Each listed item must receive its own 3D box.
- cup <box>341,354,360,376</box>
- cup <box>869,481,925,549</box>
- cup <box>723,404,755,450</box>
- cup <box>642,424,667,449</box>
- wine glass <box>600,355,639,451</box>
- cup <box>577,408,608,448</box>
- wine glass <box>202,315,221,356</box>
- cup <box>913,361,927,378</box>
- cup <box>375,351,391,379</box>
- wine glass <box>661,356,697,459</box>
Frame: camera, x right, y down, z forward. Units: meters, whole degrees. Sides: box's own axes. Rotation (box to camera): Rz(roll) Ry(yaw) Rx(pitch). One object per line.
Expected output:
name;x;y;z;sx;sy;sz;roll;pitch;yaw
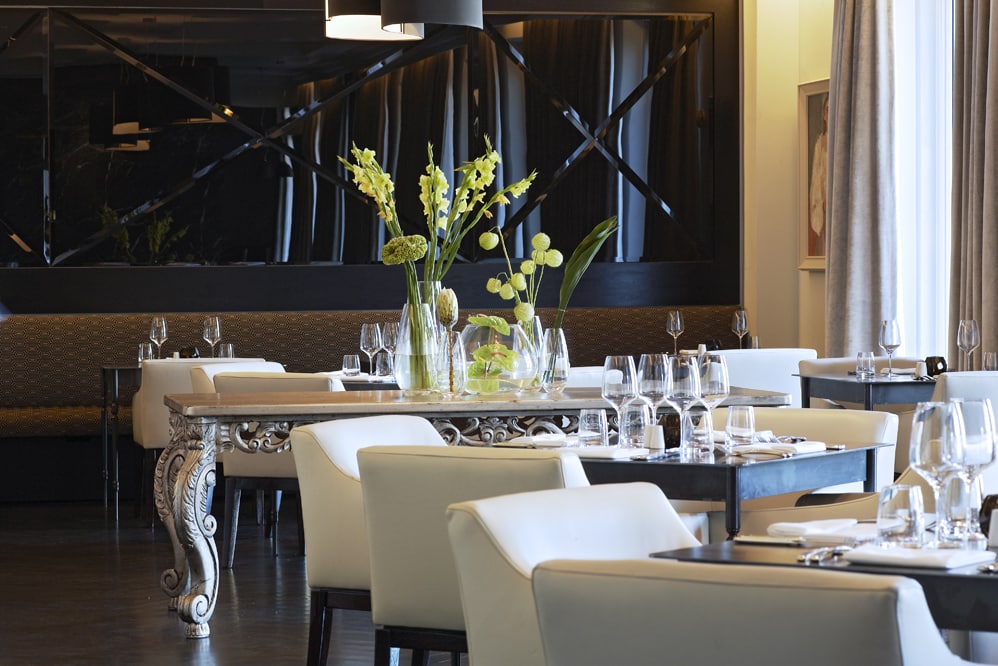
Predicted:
cup;-0.956;0.204;7.818;0.112;0.135;0.120;1;-3;0
cup;1.240;0.554;3.759;0.145;0.268;0.169;-2;-3;6
cup;0.984;0.369;4.944;0.129;0.215;0.138;0;-6;0
cup;0.626;0.414;4.901;0.077;0.091;0.085;-3;-6;40
wine glass;0.489;0.266;4.880;0.137;0.361;0.146;2;6;22
cup;0.374;0.374;4.875;0.112;0.153;0.124;-1;-7;0
wine glass;-2.051;0.013;8.694;0.098;0.287;0.615;-1;6;-12
cup;2.422;0.215;6.989;0.057;0.086;0.082;0;-7;7
cup;-0.745;0.203;7.900;0.114;0.177;0.167;0;-5;-3
wine glass;0.746;0.275;4.928;0.125;0.405;0.423;1;5;9
